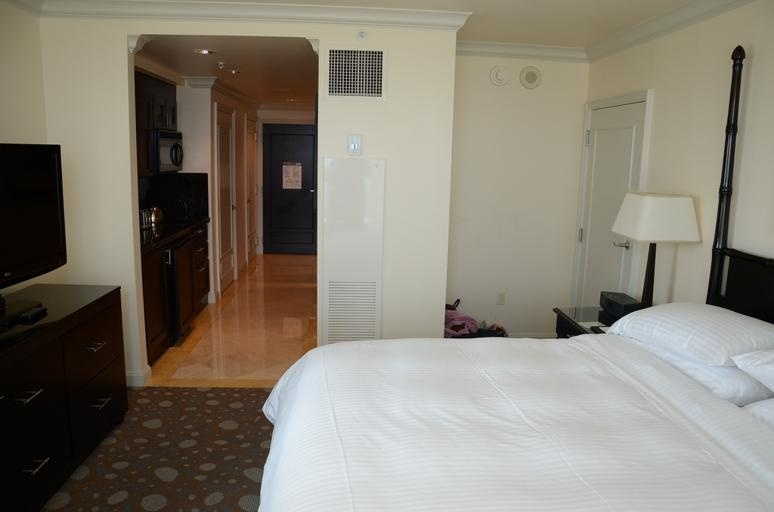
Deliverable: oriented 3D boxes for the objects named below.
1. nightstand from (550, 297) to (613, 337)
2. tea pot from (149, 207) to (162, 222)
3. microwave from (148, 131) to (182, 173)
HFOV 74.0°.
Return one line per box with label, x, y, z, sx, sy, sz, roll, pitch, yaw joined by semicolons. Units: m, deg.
nightstand;1.547;0.513;4.119;0.259;0.337;0.359;2;21;11
tea pot;-2.418;-0.421;5.365;0.107;0.154;0.152;0;1;-11
microwave;-2.401;-1.138;5.602;0.200;0.436;0.654;5;13;-2
